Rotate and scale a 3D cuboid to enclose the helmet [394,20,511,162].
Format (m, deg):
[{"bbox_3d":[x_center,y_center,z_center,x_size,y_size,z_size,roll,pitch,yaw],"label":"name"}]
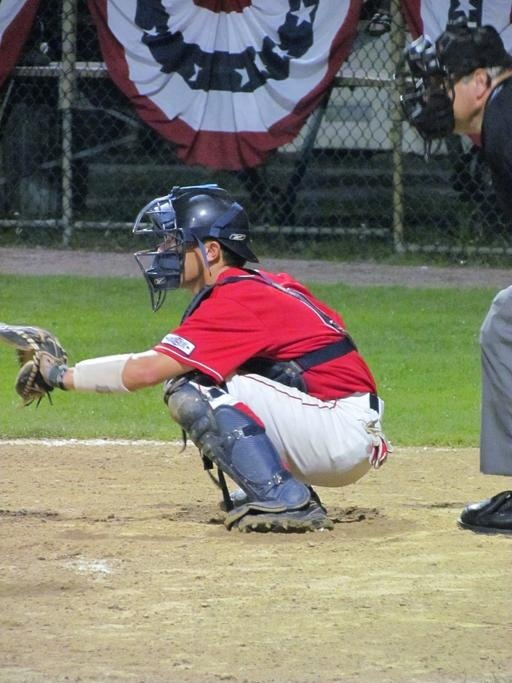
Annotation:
[{"bbox_3d":[0.464,-0.637,3.067,0.201,0.290,0.323,-1,8,-12],"label":"helmet"}]

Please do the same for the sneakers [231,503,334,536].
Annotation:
[{"bbox_3d":[0.067,0.467,3.280,0.288,0.108,0.088,-5,-7,0],"label":"sneakers"}]

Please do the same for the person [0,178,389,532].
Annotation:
[{"bbox_3d":[-0.035,0.055,3.674,1.223,0.874,0.748,1,3,4],"label":"person"}]

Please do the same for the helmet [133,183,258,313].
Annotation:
[{"bbox_3d":[-0.187,-0.265,3.471,0.374,0.289,0.251,-5,5,-25],"label":"helmet"}]
